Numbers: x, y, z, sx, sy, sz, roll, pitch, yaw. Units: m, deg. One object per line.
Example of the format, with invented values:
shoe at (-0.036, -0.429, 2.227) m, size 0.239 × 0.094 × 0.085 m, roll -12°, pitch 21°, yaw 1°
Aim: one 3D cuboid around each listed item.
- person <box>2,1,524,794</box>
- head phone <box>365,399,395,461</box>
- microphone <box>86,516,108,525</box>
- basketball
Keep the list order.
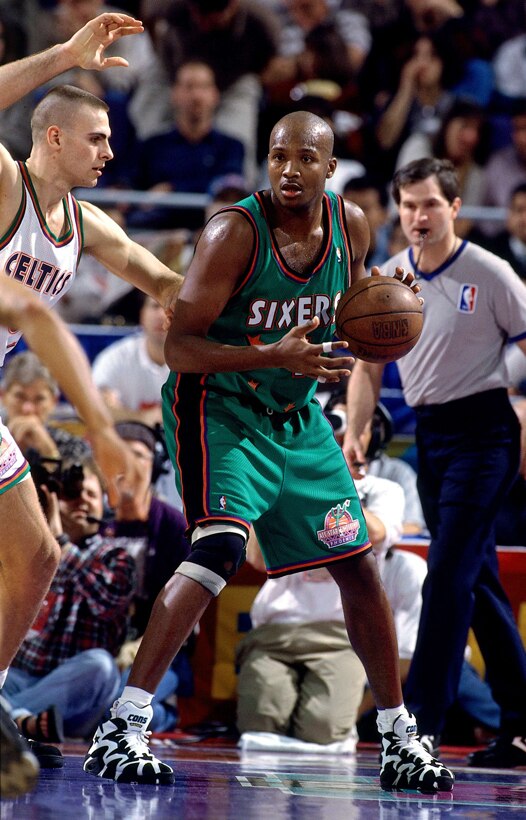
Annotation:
person at (-0.052, 0.154, 2.517) m, size 1.128 × 2.446 × 1.127 m, roll -2°, pitch 17°, yaw 3°
head phone at (0.586, 0.106, 4.407) m, size 0.224 × 0.260 × 0.278 m, roll 9°, pitch -9°, yaw 3°
microphone at (-0.801, 0.543, 4.096) m, size 0.072 × 0.022 × 0.052 m, roll 5°, pitch 1°, yaw 12°
basketball at (0.326, -0.302, 2.598) m, size 0.294 × 0.285 × 0.249 m, roll -7°, pitch 15°, yaw -27°
